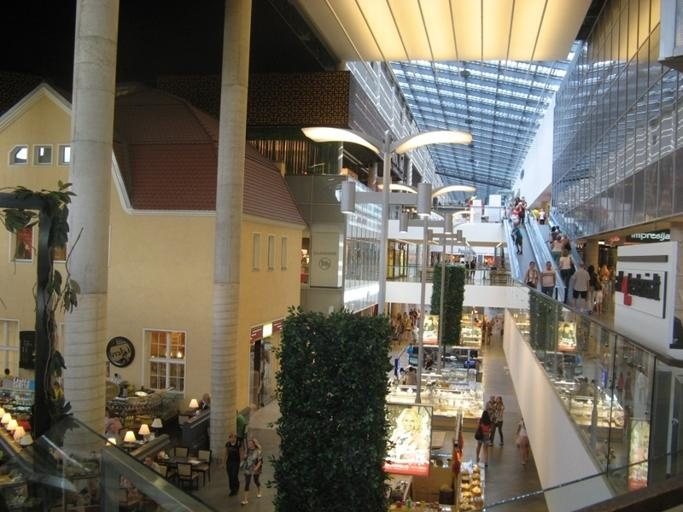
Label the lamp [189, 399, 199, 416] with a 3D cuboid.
[{"bbox_3d":[-4.833,4.987,20.755,0.369,0.642,0.406,-1,5,0],"label":"lamp"}]

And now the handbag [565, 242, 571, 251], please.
[{"bbox_3d":[7.689,-0.332,21.534,0.232,0.247,0.433,4,5,14],"label":"handbag"}]

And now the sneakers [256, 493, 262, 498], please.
[{"bbox_3d":[-2.176,6.338,16.697,0.078,0.095,0.219,0,-11,1],"label":"sneakers"}]

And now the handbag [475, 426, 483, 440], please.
[{"bbox_3d":[4.478,5.827,20.658,0.260,0.369,0.365,-1,-9,-1],"label":"handbag"}]

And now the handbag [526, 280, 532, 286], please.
[{"bbox_3d":[6.961,1.032,23.423,0.126,0.249,0.240,3,-2,-1],"label":"handbag"}]
